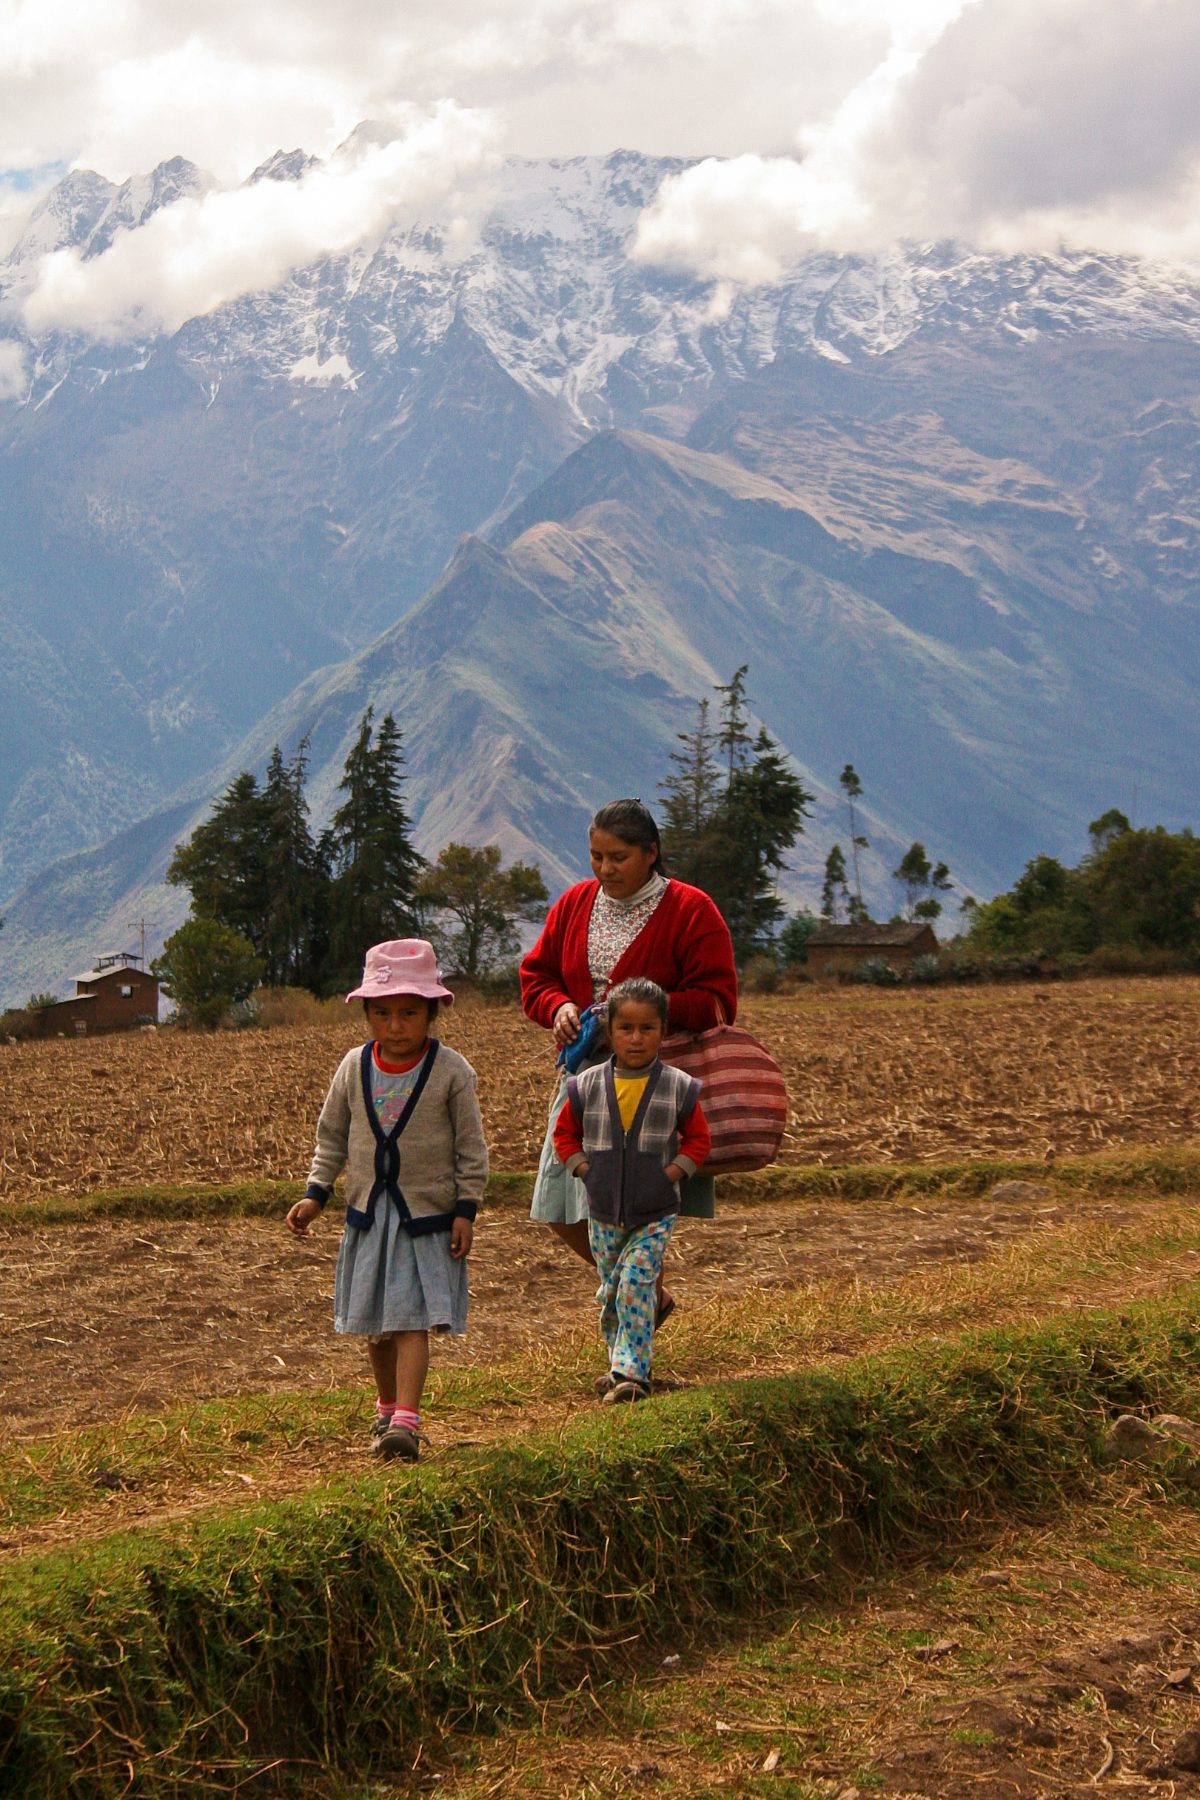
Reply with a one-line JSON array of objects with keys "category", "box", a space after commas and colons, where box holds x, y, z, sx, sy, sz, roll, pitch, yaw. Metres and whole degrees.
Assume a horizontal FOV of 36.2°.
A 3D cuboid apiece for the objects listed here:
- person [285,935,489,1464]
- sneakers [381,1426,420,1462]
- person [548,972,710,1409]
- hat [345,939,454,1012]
[{"category": "person", "box": [-0.735, 1.010, 6.347, 0.612, 1.721, 0.612, -3, -1, 33]}, {"category": "sneakers", "box": [-0.661, 1.787, 6.027, 0.135, 0.123, 0.207, -2, -1, -8]}, {"category": "person", "box": [0.106, 1.053, 6.684, 0.404, 1.512, 0.491, -1, -1, -37]}, {"category": "hat", "box": [-0.686, 0.262, 6.340, 0.262, 0.132, 0.303, 0, -11, -2]}]
